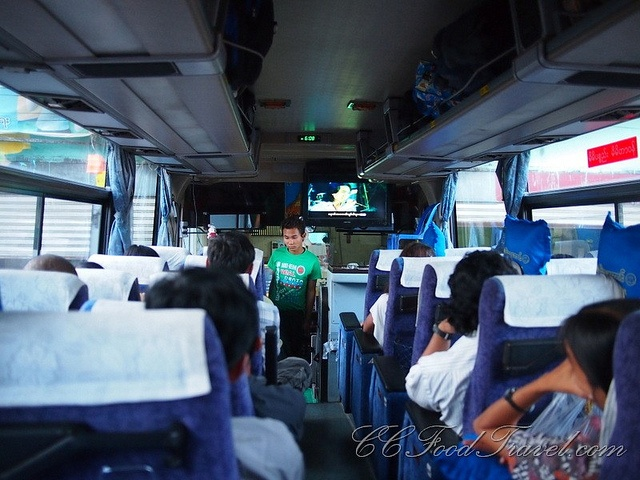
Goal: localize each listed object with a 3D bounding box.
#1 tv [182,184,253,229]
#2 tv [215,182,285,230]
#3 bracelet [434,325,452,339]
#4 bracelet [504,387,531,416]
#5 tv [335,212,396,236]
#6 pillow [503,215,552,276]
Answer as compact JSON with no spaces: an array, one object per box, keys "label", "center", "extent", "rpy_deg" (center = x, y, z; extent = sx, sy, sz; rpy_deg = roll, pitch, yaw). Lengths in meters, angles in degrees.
[{"label":"tv","center":[-1.978,-0.754,9.118],"extent":[1.338,0.918,0.748],"rpy_deg":[0,3,-4]},{"label":"tv","center":[-1.221,-0.686,9.025],"extent":[1.335,1.015,0.127],"rpy_deg":[1,29,15]},{"label":"bracelet","center":[0.575,0.441,2.188],"extent":[0.060,0.024,0.062],"rpy_deg":[28,6,13]},{"label":"bracelet","center":[0.673,0.560,1.586],"extent":[0.088,0.039,0.106],"rpy_deg":[24,-26,46]},{"label":"tv","center":[0.877,-0.273,8.653],"extent":[1.156,0.360,0.848],"rpy_deg":[1,6,13]},{"label":"pillow","center":[1.599,0.040,3.580],"extent":[0.299,0.433,0.422],"rpy_deg":[0,-1,16]}]
